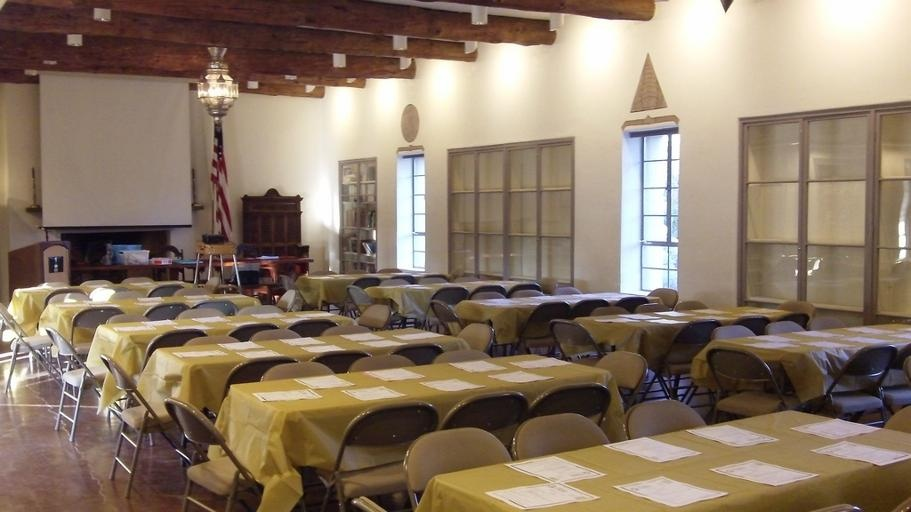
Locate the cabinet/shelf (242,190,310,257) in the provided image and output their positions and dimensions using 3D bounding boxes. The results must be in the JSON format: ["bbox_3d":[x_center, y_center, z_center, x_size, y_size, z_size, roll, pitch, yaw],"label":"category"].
[{"bbox_3d":[-4.619,-0.810,16.452,2.015,2.400,0.765,-1,1,-30],"label":"cabinet/shelf"}]

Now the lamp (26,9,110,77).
[{"bbox_3d":[-6.823,-3.801,11.469,1.504,1.212,0.339,-4,16,-11],"label":"lamp"}]

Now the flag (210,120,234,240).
[{"bbox_3d":[-5.538,-1.721,15.257,0.395,2.722,0.939,-5,3,-21],"label":"flag"}]
